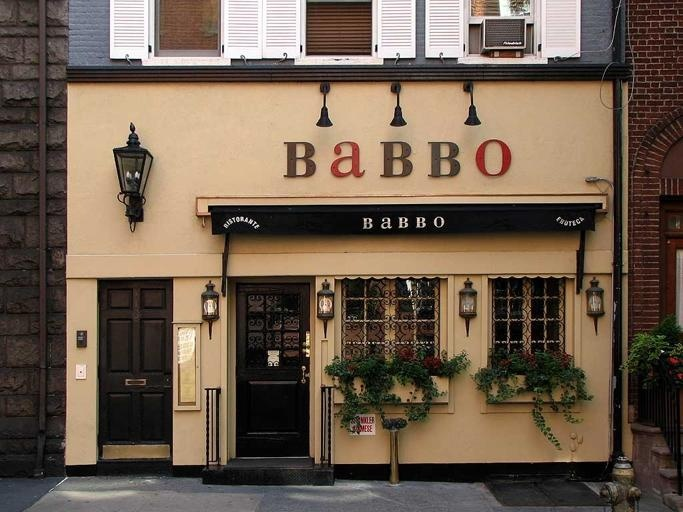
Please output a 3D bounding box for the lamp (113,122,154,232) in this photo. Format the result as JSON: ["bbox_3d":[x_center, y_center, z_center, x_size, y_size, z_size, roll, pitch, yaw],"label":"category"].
[{"bbox_3d":[-3.365,-1.276,20.897,0.622,1.715,0.472,0,-6,-9],"label":"lamp"}]

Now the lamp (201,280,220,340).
[{"bbox_3d":[-2.130,0.856,20.935,0.291,0.930,0.273,0,-6,-7],"label":"lamp"}]

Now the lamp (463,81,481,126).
[{"bbox_3d":[2.120,-2.496,21.061,0.270,0.727,0.243,-1,-6,5],"label":"lamp"}]

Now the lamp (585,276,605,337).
[{"bbox_3d":[4.107,0.786,20.995,0.333,0.936,0.314,-2,-3,17],"label":"lamp"}]

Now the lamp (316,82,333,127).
[{"bbox_3d":[-0.284,-2.482,21.063,0.258,0.756,0.207,-1,-6,0],"label":"lamp"}]

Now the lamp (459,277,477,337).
[{"bbox_3d":[2.049,0.819,20.926,0.299,0.941,0.231,-1,-6,5],"label":"lamp"}]

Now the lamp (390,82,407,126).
[{"bbox_3d":[0.916,-2.485,21.075,0.274,0.737,0.204,-1,-6,1],"label":"lamp"}]

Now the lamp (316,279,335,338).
[{"bbox_3d":[-0.281,0.833,20.906,0.269,0.953,0.218,0,-6,-7],"label":"lamp"}]
